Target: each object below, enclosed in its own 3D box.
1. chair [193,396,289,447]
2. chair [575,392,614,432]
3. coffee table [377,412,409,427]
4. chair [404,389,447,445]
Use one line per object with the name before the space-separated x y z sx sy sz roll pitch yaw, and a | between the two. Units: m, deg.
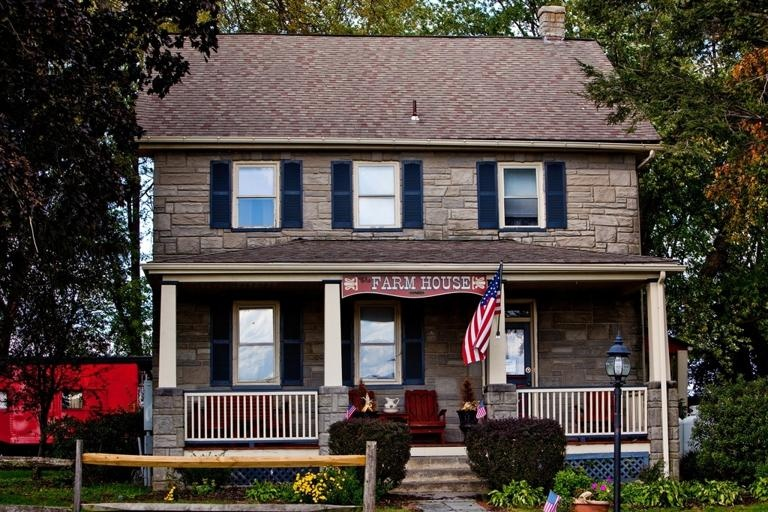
chair | -3.863 4.370 43.095 2.678 1.361 2.763 1 -10 -5
chair | 5.579 4.295 43.456 1.067 0.822 1.078 -2 -6 9
coffee table | 0.266 4.446 43.770 0.488 0.494 0.411 1 -7 -7
chair | 1.271 4.435 44.308 0.931 1.101 1.081 13 -11 11
